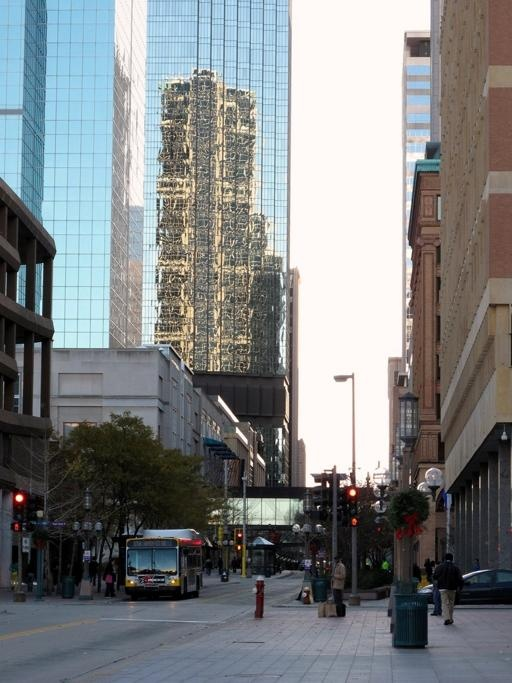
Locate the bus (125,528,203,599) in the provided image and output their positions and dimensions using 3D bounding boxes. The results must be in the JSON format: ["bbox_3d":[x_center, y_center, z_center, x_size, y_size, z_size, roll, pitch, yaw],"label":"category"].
[{"bbox_3d":[-3.372,8.965,49.824,1.846,2.746,6.273,-1,-9,7],"label":"bus"}]

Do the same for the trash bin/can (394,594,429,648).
[{"bbox_3d":[2.624,4.757,21.475,0.684,1.231,0.814,2,-11,-5],"label":"trash bin/can"}]

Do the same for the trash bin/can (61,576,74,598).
[{"bbox_3d":[-7.052,9.250,47.537,0.520,0.962,0.600,0,-4,21],"label":"trash bin/can"}]

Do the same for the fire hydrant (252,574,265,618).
[{"bbox_3d":[0.139,6.872,33.781,0.329,1.064,0.318,1,-4,30],"label":"fire hydrant"}]

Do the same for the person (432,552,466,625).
[{"bbox_3d":[4.169,5.357,27.612,0.515,1.674,0.775,-4,-5,17],"label":"person"}]
